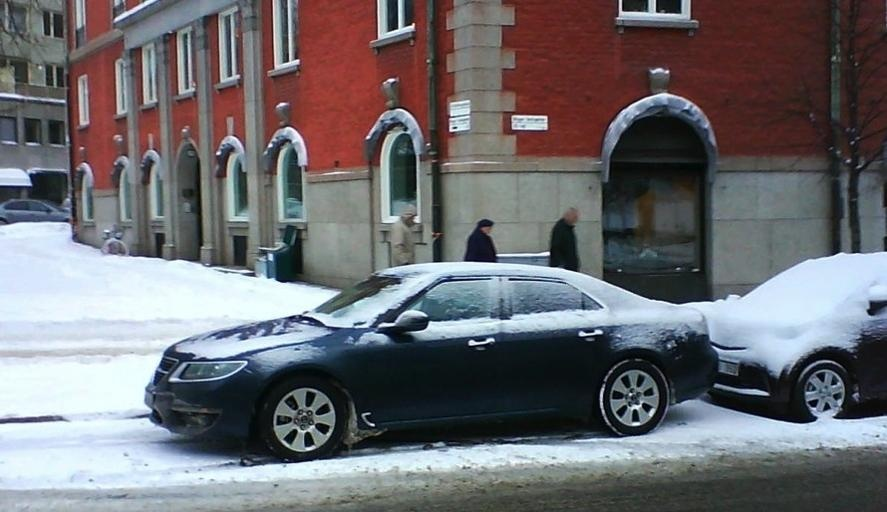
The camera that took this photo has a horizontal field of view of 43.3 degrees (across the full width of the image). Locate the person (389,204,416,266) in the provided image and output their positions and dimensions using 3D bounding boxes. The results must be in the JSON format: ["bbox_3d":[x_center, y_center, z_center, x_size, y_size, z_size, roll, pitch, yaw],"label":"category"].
[{"bbox_3d":[-1.031,-0.470,27.813,0.683,1.766,0.939,-4,30,-3],"label":"person"}]

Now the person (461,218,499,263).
[{"bbox_3d":[0.817,-0.282,24.964,0.797,1.003,0.973,3,12,9],"label":"person"}]

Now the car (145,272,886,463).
[{"bbox_3d":[-0.185,1.920,20.998,10.002,2.540,3.641,1,-1,-11],"label":"car"}]
